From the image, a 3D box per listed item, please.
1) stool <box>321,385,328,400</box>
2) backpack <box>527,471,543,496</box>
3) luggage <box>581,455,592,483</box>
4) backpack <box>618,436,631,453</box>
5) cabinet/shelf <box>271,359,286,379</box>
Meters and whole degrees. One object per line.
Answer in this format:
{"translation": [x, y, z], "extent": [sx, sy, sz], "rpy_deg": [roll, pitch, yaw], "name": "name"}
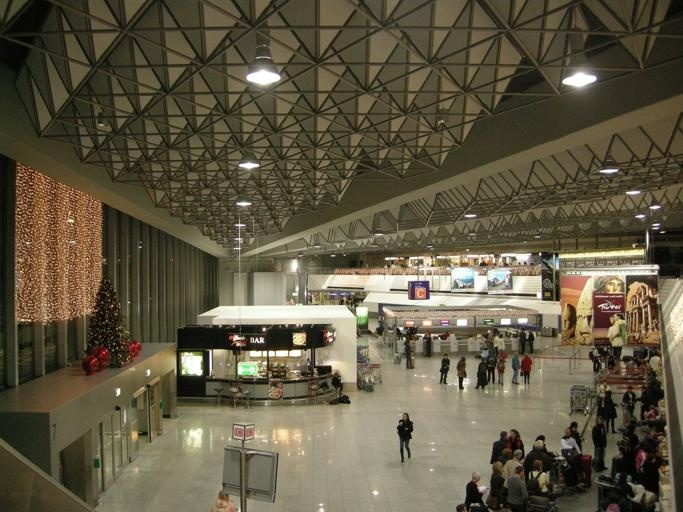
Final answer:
{"translation": [-0.796, 6.470, 26.130], "extent": [0.167, 0.757, 0.446], "rpy_deg": [-4, -7, 41], "name": "stool"}
{"translation": [5.095, 6.026, 14.435], "extent": [0.480, 0.751, 0.405], "rpy_deg": [-5, -27, 19], "name": "backpack"}
{"translation": [7.387, 6.426, 16.382], "extent": [0.212, 0.870, 0.544], "rpy_deg": [-3, -6, 32], "name": "luggage"}
{"translation": [8.485, 5.632, 16.310], "extent": [0.324, 0.455, 0.260], "rpy_deg": [-3, -7, 32], "name": "backpack"}
{"translation": [-3.030, 5.458, 26.484], "extent": [0.749, 0.825, 1.278], "rpy_deg": [1, -6, -8], "name": "cabinet/shelf"}
